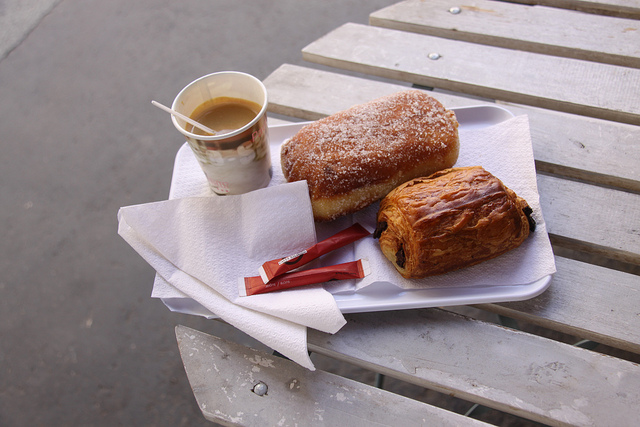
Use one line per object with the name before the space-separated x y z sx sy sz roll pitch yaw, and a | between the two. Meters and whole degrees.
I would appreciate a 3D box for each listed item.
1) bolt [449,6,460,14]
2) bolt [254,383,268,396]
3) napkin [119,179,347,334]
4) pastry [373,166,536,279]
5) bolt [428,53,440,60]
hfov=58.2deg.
bolt | 0.302 -0.460 1.292 0.019 0.005 0.017 -4 53 2
bolt | -0.096 0.289 0.936 0.018 0.008 0.020 34 65 31
napkin | -0.133 0.035 1.032 0.331 0.101 0.373 4 32 -4
pastry | 0.231 0.000 1.009 0.274 0.114 0.177 -18 40 -18
bolt | 0.243 -0.338 1.230 0.021 0.003 0.020 -27 52 -10
